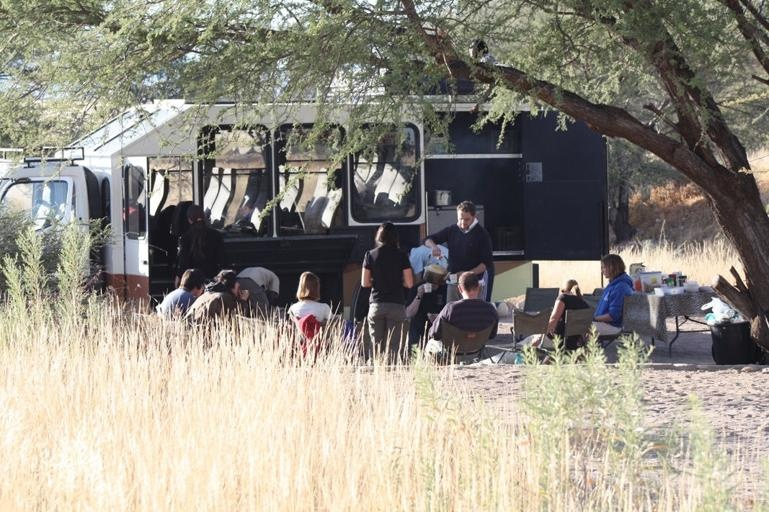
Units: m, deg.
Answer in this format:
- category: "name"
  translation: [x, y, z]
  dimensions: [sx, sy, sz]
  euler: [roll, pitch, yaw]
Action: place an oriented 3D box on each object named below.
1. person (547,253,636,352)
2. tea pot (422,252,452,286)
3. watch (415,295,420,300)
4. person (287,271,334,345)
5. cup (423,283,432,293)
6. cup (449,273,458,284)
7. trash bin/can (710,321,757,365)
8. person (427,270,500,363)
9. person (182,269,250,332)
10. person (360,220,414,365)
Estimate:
- category: "person"
  translation: [2.661, 0.589, 12.346]
  dimensions: [1.550, 1.242, 0.544]
  euler: [6, -6, -44]
- category: "tea pot"
  translation: [0.683, 0.184, 12.651]
  dimensions: [0.252, 0.239, 0.414]
  euler: [13, 14, 2]
- category: "watch"
  translation: [0.429, 0.544, 12.424]
  dimensions: [0.043, 0.044, 0.051]
  euler: [1, 1, -2]
- category: "person"
  translation: [-0.832, 0.865, 10.982]
  dimensions: [0.426, 1.360, 0.395]
  euler: [2, -1, 20]
- category: "cup"
  translation: [0.558, 0.422, 12.331]
  dimensions: [0.088, 0.107, 0.099]
  euler: [0, 0, 22]
- category: "cup"
  translation: [0.924, 0.313, 12.824]
  dimensions: [0.120, 0.155, 0.100]
  euler: [-2, 10, 14]
- category: "trash bin/can"
  translation: [4.357, 1.110, 11.892]
  dimensions: [0.433, 0.553, 0.497]
  euler: [0, -7, -3]
- category: "person"
  translation: [0.897, 0.673, 10.990]
  dimensions: [0.809, 0.970, 0.513]
  euler: [1, -4, 0]
- category: "person"
  translation: [-1.835, 0.476, 10.893]
  dimensions: [0.577, 0.654, 1.256]
  euler: [-1, -5, 21]
- category: "person"
  translation: [0.049, 0.427, 11.693]
  dimensions: [0.622, 1.713, 0.627]
  euler: [2, -4, -22]
